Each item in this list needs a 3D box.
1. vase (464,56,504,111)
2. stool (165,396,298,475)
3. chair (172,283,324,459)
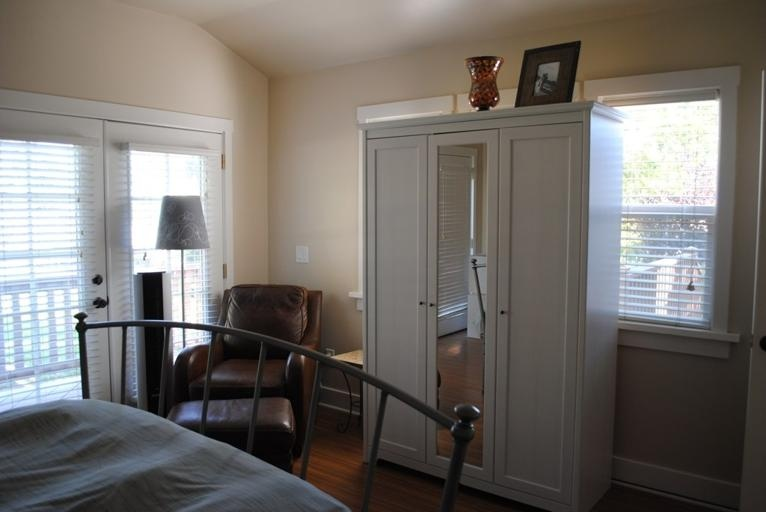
[{"bbox_3d":[0.691,-1.176,3.867,0.262,0.337,0.272,7,15,43],"label":"vase"},{"bbox_3d":[-1.042,1.303,3.962,0.801,0.538,0.494,4,13,-4],"label":"stool"},{"bbox_3d":[-1.019,0.857,4.852,1.126,1.558,1.131,0,-10,8],"label":"chair"}]
